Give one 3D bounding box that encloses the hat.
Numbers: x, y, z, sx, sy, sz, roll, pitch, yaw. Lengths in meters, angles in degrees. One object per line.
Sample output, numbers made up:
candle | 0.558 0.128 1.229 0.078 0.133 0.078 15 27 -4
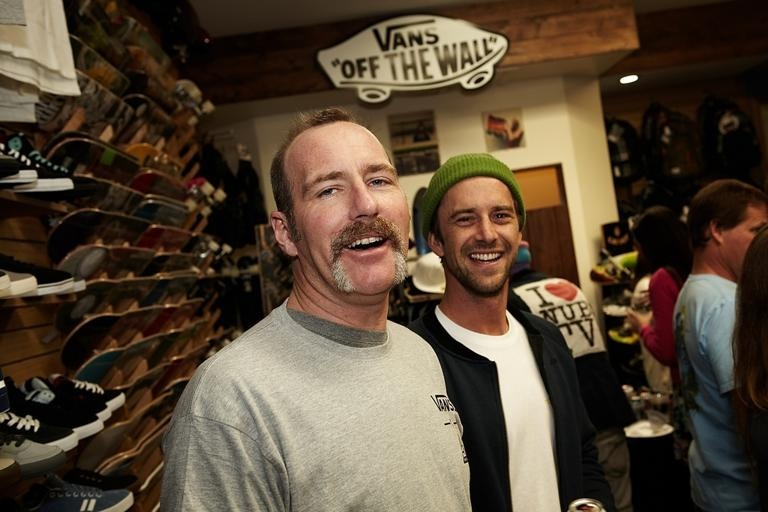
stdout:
hat | 0.356 -0.341 2.670 0.393 0.250 0.399 18 -36 -22
